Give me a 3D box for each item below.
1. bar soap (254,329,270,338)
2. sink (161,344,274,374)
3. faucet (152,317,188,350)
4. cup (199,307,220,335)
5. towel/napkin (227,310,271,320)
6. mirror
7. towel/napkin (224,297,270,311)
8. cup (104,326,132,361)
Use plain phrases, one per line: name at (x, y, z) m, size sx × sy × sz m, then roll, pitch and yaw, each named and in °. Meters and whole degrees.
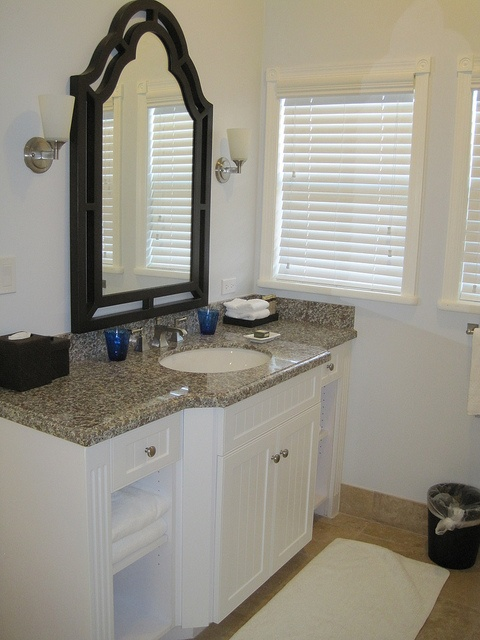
bar soap at (0.085, 0.060, 2.126) m, size 0.071 × 0.026 × 0.102 m, roll 6°, pitch 7°, yaw 32°
sink at (-0.097, 0.161, 1.942) m, size 0.386 × 0.091 × 0.214 m, roll 1°, pitch 6°, yaw -11°
faucet at (-0.267, 0.045, 1.976) m, size 0.091 × 0.072 × 0.103 m, roll 4°, pitch 10°, yaw 29°
cup at (-0.130, 0.007, 2.213) m, size 0.084 × 0.115 × 0.092 m, roll 0°, pitch 11°, yaw 0°
towel/napkin at (0.032, -0.022, 2.393) m, size 0.080 × 0.029 × 0.085 m, roll 3°, pitch 10°, yaw 35°
mirror at (-0.316, -0.530, 1.861) m, size 0.089 × 0.869 × 0.562 m, roll 3°, pitch 6°, yaw 19°
towel/napkin at (0.029, -0.068, 2.402) m, size 0.201 × 0.048 × 0.123 m, roll 2°, pitch 6°, yaw -1°
cup at (-0.399, 0.076, 1.745) m, size 0.079 × 0.105 × 0.089 m, roll 2°, pitch 9°, yaw 7°
